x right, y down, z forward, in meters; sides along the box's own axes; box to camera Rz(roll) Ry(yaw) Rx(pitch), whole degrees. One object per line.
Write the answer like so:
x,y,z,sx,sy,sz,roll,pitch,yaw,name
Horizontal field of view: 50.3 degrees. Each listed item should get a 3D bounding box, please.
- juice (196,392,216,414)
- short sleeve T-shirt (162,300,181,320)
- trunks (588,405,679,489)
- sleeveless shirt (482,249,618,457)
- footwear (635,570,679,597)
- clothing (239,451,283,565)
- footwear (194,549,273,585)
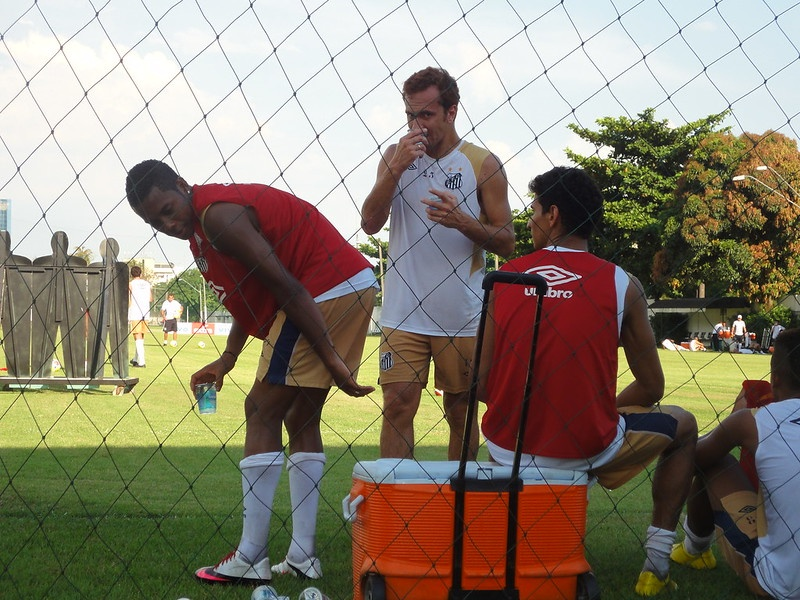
-1.086,0.577,4.815,0.113,0.175,0.121,0,-13,-1,juice
-5.945,0.230,22.057,0.453,0.614,0.310,-3,2,8,short sleeve T-shirt
1.216,0.721,4.376,0.472,0.203,0.311,-28,29,7,trunks
0.758,0.280,4.192,0.786,1.297,0.633,2,-4,16,sleeveless shirt
1.311,1.421,4.327,0.200,0.087,0.106,-1,-2,-21,footwear
-0.738,1.082,4.480,0.219,0.559,0.155,1,-2,-10,clothing
-0.871,1.398,4.487,0.410,0.211,0.166,4,-10,-2,footwear
